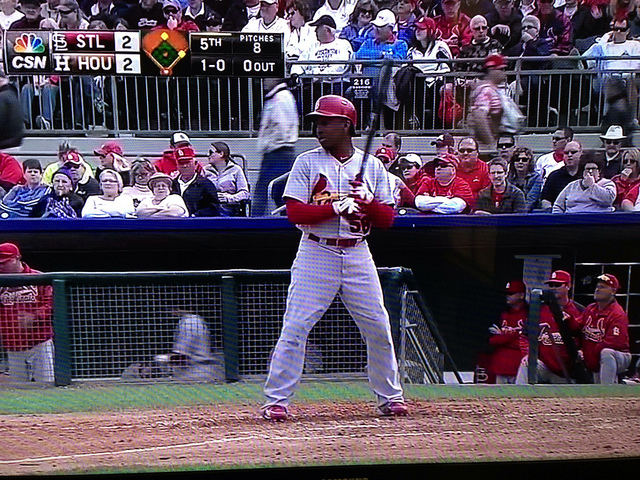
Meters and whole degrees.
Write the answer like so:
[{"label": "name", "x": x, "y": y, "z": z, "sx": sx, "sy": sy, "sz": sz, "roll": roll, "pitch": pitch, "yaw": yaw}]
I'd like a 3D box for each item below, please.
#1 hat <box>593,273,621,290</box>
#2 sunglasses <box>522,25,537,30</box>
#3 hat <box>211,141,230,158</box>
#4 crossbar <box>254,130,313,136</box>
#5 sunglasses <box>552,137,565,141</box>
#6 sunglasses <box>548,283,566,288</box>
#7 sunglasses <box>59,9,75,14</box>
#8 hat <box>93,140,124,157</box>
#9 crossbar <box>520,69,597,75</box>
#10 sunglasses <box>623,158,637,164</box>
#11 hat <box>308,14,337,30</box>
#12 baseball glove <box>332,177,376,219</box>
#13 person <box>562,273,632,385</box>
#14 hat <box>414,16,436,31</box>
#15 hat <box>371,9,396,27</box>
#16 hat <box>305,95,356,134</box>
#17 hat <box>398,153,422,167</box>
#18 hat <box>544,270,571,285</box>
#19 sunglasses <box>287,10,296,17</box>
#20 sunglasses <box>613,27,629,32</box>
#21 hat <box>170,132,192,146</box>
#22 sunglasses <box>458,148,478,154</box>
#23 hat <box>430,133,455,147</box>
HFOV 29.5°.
[{"label": "hat", "x": 1.667, "y": 0.245, "z": 7.086, "sx": 0.126, "sy": 0.058, "sz": 0.081, "roll": 13, "pitch": -2, "yaw": 3}, {"label": "sunglasses", "x": 1.400, "y": -1.451, "z": 8.248, "sx": 0.091, "sy": 0.031, "sz": 0.014, "roll": -6, "pitch": 8, "yaw": -38}, {"label": "hat", "x": -0.661, "y": -0.613, "z": 8.183, "sx": 0.106, "sy": 0.112, "sz": 0.106, "roll": -1, "pitch": 6, "yaw": 7}, {"label": "crossbar", "x": -0.244, "y": -0.693, "z": 7.824, "sx": 0.380, "sy": 0.029, "sz": 0.091, "roll": 1, "pitch": 6, "yaw": 24}, {"label": "sunglasses", "x": 1.625, "y": -0.694, "z": 8.317, "sx": 0.078, "sy": 0.022, "sz": 0.033, "roll": -1, "pitch": 6, "yaw": 3}, {"label": "sunglasses", "x": 1.413, "y": 0.273, "z": 7.304, "sx": 0.032, "sy": 0.034, "sz": 0.106, "roll": -7, "pitch": 8, "yaw": -39}, {"label": "sunglasses", "x": -1.571, "y": -1.411, "z": 7.481, "sx": 0.106, "sy": 0.031, "sz": 0.072, "roll": 1, "pitch": 6, "yaw": 18}, {"label": "hat", "x": -1.427, "y": -0.621, "z": 8.205, "sx": 0.205, "sy": 0.116, "sz": 0.235, "roll": -2, "pitch": 6, "yaw": -10}, {"label": "crossbar", "x": 1.610, "y": -1.141, "z": 8.206, "sx": 0.513, "sy": 0.038, "sz": 0.104, "roll": 1, "pitch": 6, "yaw": 21}, {"label": "sunglasses", "x": 2.016, "y": -0.516, "z": 7.957, "sx": 0.108, "sy": 0.030, "sz": 0.028, "roll": -5, "pitch": 7, "yaw": -35}, {"label": "hat", "x": 0.011, "y": -1.399, "z": 7.745, "sx": 0.165, "sy": 0.066, "sz": 0.095, "roll": -2, "pitch": 13, "yaw": -10}, {"label": "baseball glove", "x": 0.196, "y": -0.231, "z": 6.856, "sx": 0.198, "sy": 0.231, "sz": 0.112, "roll": 29, "pitch": -4, "yaw": -29}, {"label": "person", "x": 1.622, "y": 0.536, "z": 7.168, "sx": 0.120, "sy": 0.636, "sz": 0.445, "roll": -8, "pitch": 9, "yaw": -40}, {"label": "hat", "x": 0.736, "y": -1.510, "z": 8.411, "sx": 0.143, "sy": 0.063, "sz": 0.098, "roll": 11, "pitch": 4, "yaw": -24}, {"label": "hat", "x": 0.423, "y": -1.475, "z": 8.059, "sx": 0.118, "sy": 0.059, "sz": 0.168, "roll": 18, "pitch": 30, "yaw": 17}, {"label": "hat", "x": 0.045, "y": -0.727, "z": 6.983, "sx": 0.247, "sy": 0.201, "sz": 0.195, "roll": -10, "pitch": 15, "yaw": -28}, {"label": "hat", "x": 0.609, "y": -0.551, "z": 8.338, "sx": 0.139, "sy": 0.064, "sz": 0.089, "roll": 21, "pitch": -10, "yaw": -33}, {"label": "hat", "x": 1.429, "y": 0.225, "z": 7.292, "sx": 0.115, "sy": 0.054, "sz": 0.075, "roll": 4, "pitch": -4, "yaw": -1}, {"label": "sunglasses", "x": -0.184, "y": -1.418, "z": 7.584, "sx": 0.042, "sy": 0.038, "sz": 0.085, "roll": -2, "pitch": 6, "yaw": 0}, {"label": "sunglasses", "x": 1.922, "y": -1.357, "z": 7.804, "sx": 0.095, "sy": 0.030, "sz": 0.034, "roll": 2, "pitch": 7, "yaw": 29}, {"label": "hat", "x": -0.925, "y": -0.677, "z": 8.004, "sx": 0.097, "sy": 0.067, "sz": 0.144, "roll": 0, "pitch": -1, "yaw": -17}, {"label": "sunglasses", "x": 0.983, "y": -0.609, "z": 8.211, "sx": 0.113, "sy": 0.031, "sz": 0.036, "roll": -1, "pitch": 6, "yaw": 5}, {"label": "hat", "x": 0.827, "y": -0.681, "z": 8.252, "sx": 0.141, "sy": 0.069, "sz": 0.084, "roll": 15, "pitch": 0, "yaw": -5}]
